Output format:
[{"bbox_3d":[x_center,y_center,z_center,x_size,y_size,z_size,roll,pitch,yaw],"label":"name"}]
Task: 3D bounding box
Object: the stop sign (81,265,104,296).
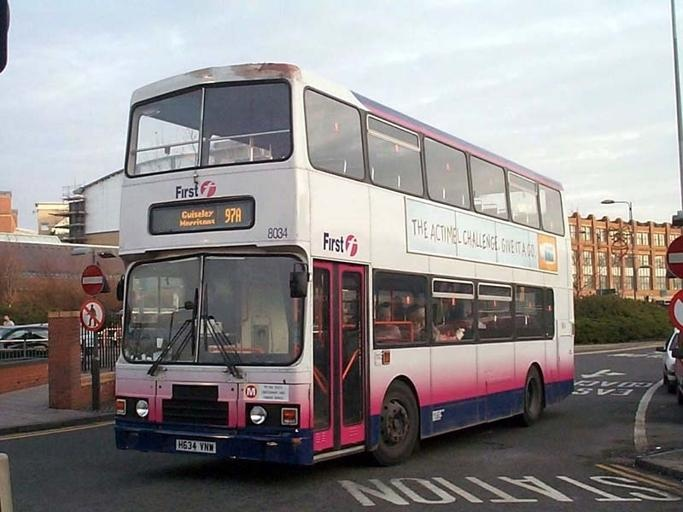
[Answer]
[{"bbox_3d":[-6.422,0.615,15.742,0.554,0.846,1.157,1,-6,-22],"label":"stop sign"}]
